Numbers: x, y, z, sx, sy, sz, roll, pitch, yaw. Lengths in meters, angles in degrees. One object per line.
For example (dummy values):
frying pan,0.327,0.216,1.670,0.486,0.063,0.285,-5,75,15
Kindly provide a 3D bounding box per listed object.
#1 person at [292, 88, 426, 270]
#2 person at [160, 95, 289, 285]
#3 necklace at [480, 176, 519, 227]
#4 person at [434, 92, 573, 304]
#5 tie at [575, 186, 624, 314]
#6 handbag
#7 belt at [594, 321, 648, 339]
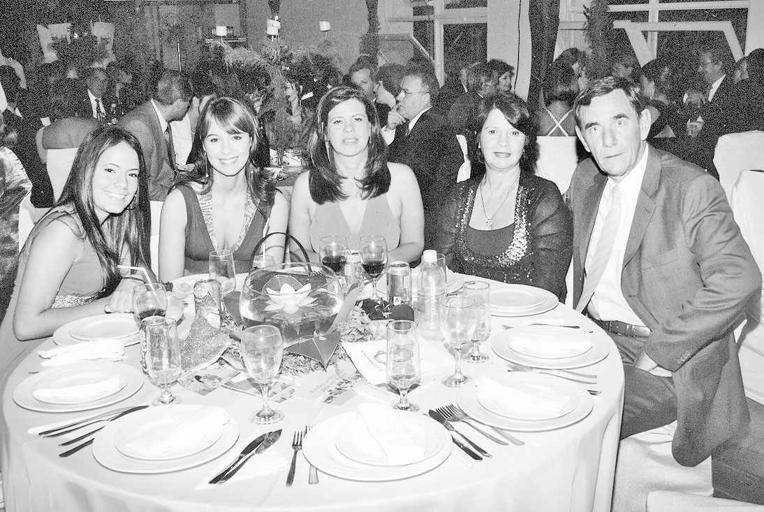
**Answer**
person,-0.160,-0.379,3.345,0.791,1.171,0.688,-1,38,2
person,-0.884,-0.343,3.233,0.702,1.085,0.577,-4,25,-23
necklace,0.635,-0.290,3.139,0.235,0.251,0.068,-1,-4,28
person,0.601,-0.218,3.118,0.812,1.271,0.879,1,15,21
tie,1.072,-0.076,2.820,0.129,0.820,0.095,14,-5,7
handbag,-0.369,0.027,2.206,0.248,0.249,0.181,-18,2,-16
belt,1.170,0.349,2.756,0.121,0.037,0.131,7,1,0
